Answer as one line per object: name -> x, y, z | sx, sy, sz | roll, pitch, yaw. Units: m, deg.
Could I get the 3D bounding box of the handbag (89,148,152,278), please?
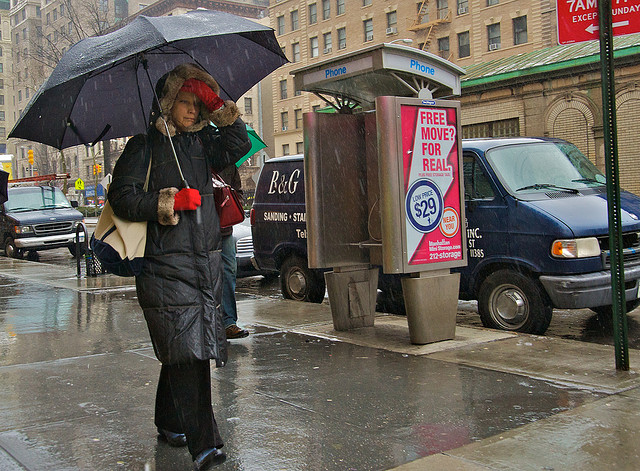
handbag -> -1.300, 0.017, 3.852 | 0.404, 0.489, 0.252 | -1, -1, -1

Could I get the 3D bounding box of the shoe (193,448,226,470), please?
shoe -> -0.669, 1.377, 3.703 | 0.200, 0.085, 0.110 | -17, 9, 5

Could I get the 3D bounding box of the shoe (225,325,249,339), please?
shoe -> -0.967, 1.124, 6.979 | 0.326, 0.158, 0.127 | 0, -1, 6

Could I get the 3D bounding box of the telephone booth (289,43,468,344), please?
telephone booth -> 0.741, -0.515, 7.180 | 1.718, 3.385, 1.886 | 0, -1, -33

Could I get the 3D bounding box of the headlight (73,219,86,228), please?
headlight -> -7.055, -0.363, 17.470 | 0.464, 0.276, 0.291 | 5, 5, 37

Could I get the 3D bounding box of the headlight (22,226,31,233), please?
headlight -> -10.087, -0.229, 20.476 | 0.203, 0.218, 0.049 | -2, 0, -11

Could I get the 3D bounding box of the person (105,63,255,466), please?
person -> -0.872, 0.158, 3.863 | 0.889, 2.551, 0.484 | -1, -1, -21

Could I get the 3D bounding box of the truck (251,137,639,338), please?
truck -> 1.430, -0.127, 8.491 | 4.778, 2.392, 2.801 | 1, 3, 44

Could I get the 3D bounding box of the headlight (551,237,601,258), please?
headlight -> 2.956, 0.110, 6.900 | 0.351, 0.139, 0.265 | -2, 1, -22

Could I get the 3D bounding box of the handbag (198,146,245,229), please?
handbag -> -0.698, -0.290, 4.203 | 0.193, 0.458, 0.459 | -18, 8, -11

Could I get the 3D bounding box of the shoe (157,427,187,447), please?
shoe -> -1.040, 1.387, 4.149 | 0.264, 0.117, 0.068 | -2, -1, 29
